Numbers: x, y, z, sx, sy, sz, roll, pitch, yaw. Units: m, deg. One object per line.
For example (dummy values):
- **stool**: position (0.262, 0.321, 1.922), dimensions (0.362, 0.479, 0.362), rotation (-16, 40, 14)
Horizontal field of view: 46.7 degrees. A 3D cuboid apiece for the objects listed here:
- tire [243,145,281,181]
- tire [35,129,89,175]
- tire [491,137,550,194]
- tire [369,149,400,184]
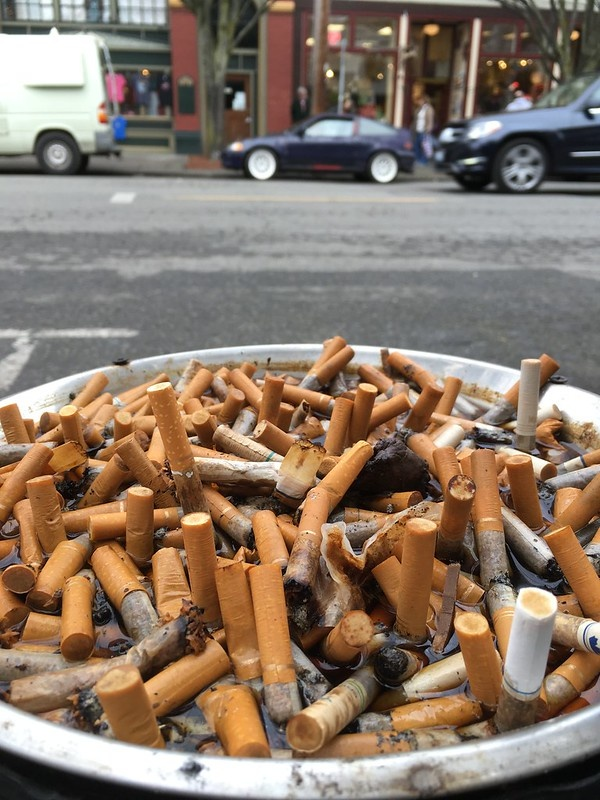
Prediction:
- **tire**: position (-0.686, -4.339, 12.649), dimensions (0.593, 0.564, 0.222), rotation (3, 10, -4)
- **tire**: position (-4.315, -4.510, 12.582), dimensions (0.679, 0.682, 0.260), rotation (-44, 14, 11)
- **tire**: position (3.240, -3.402, 10.209), dimensions (0.798, 0.762, 0.281), rotation (0, 16, 10)
- **tire**: position (1.568, -4.381, 12.978), dimensions (0.489, 0.481, 0.186), rotation (37, 10, -36)
